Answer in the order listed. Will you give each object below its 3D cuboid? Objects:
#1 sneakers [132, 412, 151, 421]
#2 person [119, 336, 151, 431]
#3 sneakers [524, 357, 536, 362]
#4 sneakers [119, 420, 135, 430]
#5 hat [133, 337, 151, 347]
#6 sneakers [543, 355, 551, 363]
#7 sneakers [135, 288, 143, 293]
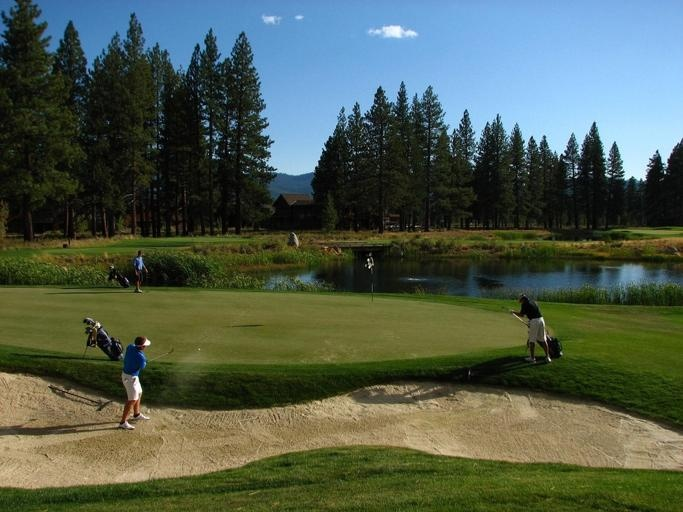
[{"bbox_3d":[-5.753,4.603,20.314,0.520,0.245,0.204,0,9,-7],"label":"sneakers"},{"bbox_3d":[-5.949,3.600,20.153,0.770,2.558,0.569,0,4,-21],"label":"person"},{"bbox_3d":[5.872,3.225,21.954,0.131,0.166,0.351,-3,9,-42],"label":"sneakers"},{"bbox_3d":[-6.115,4.781,20.061,0.451,0.242,0.200,4,2,4],"label":"sneakers"},{"bbox_3d":[-5.735,2.491,20.340,0.431,0.361,0.253,5,-35,-20],"label":"hat"},{"bbox_3d":[6.456,3.205,21.981,0.221,0.180,0.123,1,4,-10],"label":"sneakers"},{"bbox_3d":[-8.395,1.430,29.170,0.163,0.200,0.461,-1,-1,-28],"label":"sneakers"}]
